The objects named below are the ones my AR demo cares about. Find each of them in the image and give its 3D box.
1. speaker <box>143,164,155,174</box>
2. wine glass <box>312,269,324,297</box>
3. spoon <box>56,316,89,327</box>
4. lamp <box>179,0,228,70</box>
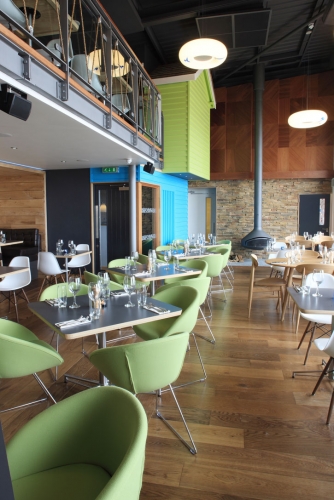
[{"bbox_3d":[-0.332,-1.560,6.760,0.164,0.205,0.387,1,5,2],"label":"speaker"},{"bbox_3d":[1.230,0.253,2.915,0.071,0.201,0.338,3,6,22],"label":"wine glass"},{"bbox_3d":[-0.578,0.448,2.219,0.227,0.020,0.140,-4,7,-40],"label":"spoon"},{"bbox_3d":[0.474,-2.811,4.917,0.572,0.747,1.420,1,5,3],"label":"lamp"}]
